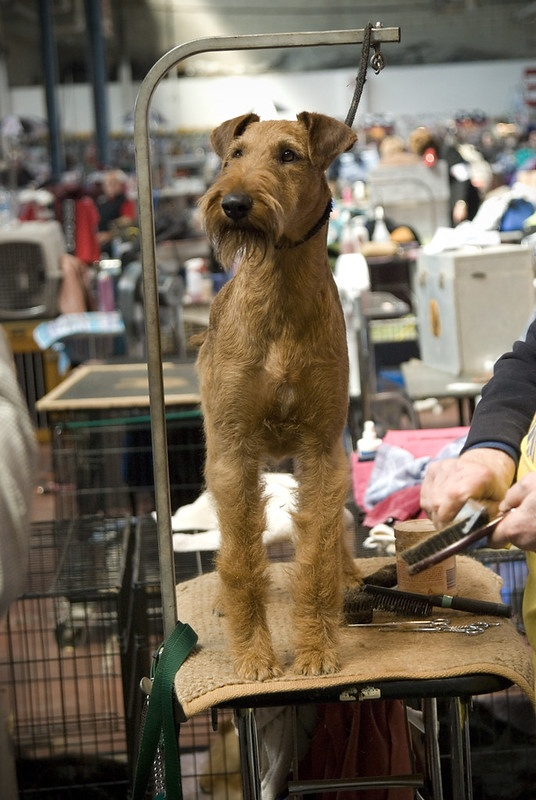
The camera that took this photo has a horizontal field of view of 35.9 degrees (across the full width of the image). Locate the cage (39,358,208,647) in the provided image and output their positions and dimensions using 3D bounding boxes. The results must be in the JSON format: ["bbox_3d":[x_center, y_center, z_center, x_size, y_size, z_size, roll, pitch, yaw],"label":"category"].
[{"bbox_3d":[-0.647,0.441,4.235,0.773,0.847,1.312,-1,6,-1],"label":"cage"}]

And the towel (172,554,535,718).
[{"bbox_3d":[0.152,0.464,1.528,0.525,0.113,0.493,-1,4,-3],"label":"towel"}]

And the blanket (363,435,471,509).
[{"bbox_3d":[0.520,0.309,3.275,0.267,0.205,0.376,-1,9,12],"label":"blanket"}]

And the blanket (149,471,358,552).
[{"bbox_3d":[-0.031,0.264,1.893,0.310,0.348,0.112,-2,50,-6],"label":"blanket"}]
